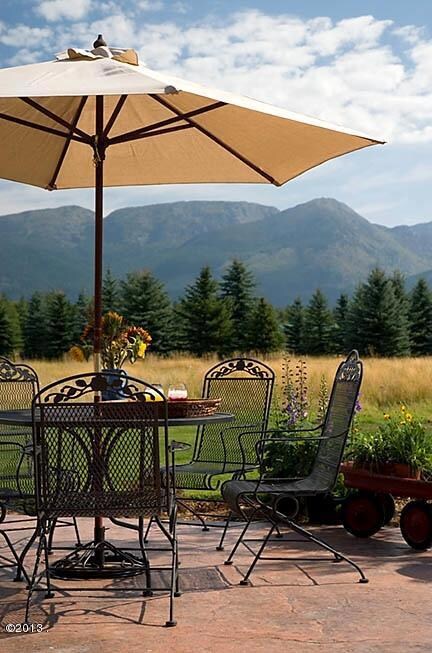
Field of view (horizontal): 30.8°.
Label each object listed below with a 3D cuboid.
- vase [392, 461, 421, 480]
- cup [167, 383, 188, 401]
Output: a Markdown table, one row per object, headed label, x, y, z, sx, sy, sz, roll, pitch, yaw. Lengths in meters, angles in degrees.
| label | x | y | z | sx | sy | sz | roll | pitch | yaw |
| --- | --- | --- | --- | --- | --- | --- | --- | --- | --- |
| vase | 1.062 | 0.812 | 4.392 | 0.153 | 0.088 | 0.067 | -2 | 0 | 15 |
| cup | -0.186 | 0.324 | 3.881 | 0.088 | 0.061 | 0.083 | 2 | -4 | 0 |
